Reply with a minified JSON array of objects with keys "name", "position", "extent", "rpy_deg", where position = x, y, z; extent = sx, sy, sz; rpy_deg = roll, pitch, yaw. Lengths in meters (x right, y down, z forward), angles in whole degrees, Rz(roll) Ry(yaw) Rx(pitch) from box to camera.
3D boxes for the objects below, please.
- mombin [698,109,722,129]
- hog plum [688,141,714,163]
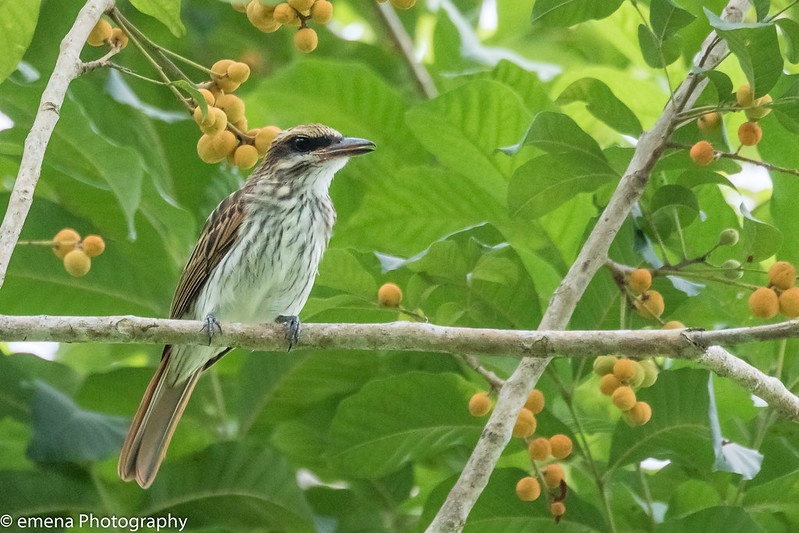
[{"name":"mombin","position":[1.334,-0.633,3.966],"extent":[0.095,0.054,0.077],"rpy_deg":[1,33,28]},{"name":"hog plum","position":[1.266,-0.478,3.899],"extent":[0.094,0.101,0.096],"rpy_deg":[3,25,6]}]
